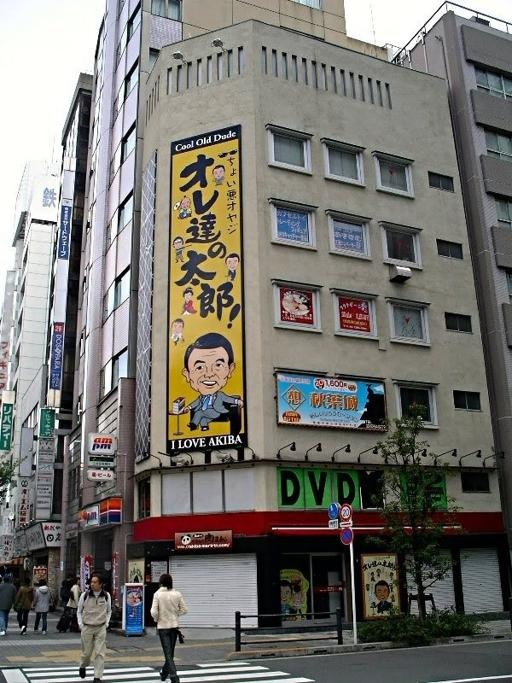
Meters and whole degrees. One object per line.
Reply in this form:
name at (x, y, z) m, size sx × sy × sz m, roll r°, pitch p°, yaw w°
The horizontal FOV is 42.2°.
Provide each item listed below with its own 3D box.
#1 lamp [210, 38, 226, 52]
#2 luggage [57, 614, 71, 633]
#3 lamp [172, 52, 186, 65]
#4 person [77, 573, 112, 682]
lamp at (-1.543, -12.119, 27.059) m, size 0.544 × 0.391 × 0.190 m, roll 33°, pitch 9°, yaw -1°
luggage at (-6.170, 8.989, 21.296) m, size 0.434 × 0.631 × 0.880 m, roll 2°, pitch -20°, yaw -16°
lamp at (-3.252, -11.931, 27.883) m, size 0.535 × 0.574 × 0.370 m, roll -2°, pitch -19°, yaw -5°
person at (-2.326, 4.096, 9.474) m, size 0.453 × 1.432 × 1.329 m, roll 1°, pitch -19°, yaw -14°
